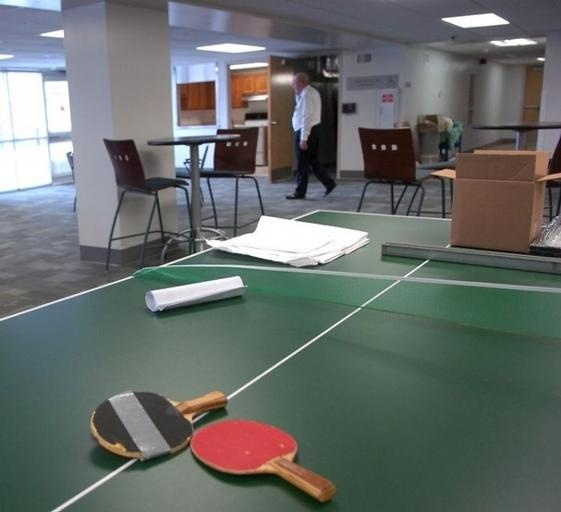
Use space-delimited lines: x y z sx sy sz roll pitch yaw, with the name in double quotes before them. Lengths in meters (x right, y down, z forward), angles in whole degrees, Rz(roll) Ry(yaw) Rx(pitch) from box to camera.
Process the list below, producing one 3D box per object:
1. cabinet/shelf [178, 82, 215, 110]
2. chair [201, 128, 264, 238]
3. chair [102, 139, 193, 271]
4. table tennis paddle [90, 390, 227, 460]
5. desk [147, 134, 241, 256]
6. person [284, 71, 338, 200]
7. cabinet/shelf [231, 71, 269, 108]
"cabinet/shelf" -2.135 -4.219 11.472 0.604 0.699 0.251 4 9 26
"chair" -0.533 -1.072 4.806 0.675 1.716 0.679 11 16 39
"chair" -1.214 -0.592 4.141 0.683 1.424 0.694 -10 18 -43
"table tennis paddle" -0.150 0.219 0.600 0.204 0.028 0.124 7 15 -45
"desk" -0.771 -0.595 4.183 0.777 1.467 1.100 2 12 13
"person" 0.427 -2.114 7.468 0.546 2.546 0.852 8 15 20
"cabinet/shelf" -0.772 -4.117 10.833 0.924 0.865 0.237 2 14 14
